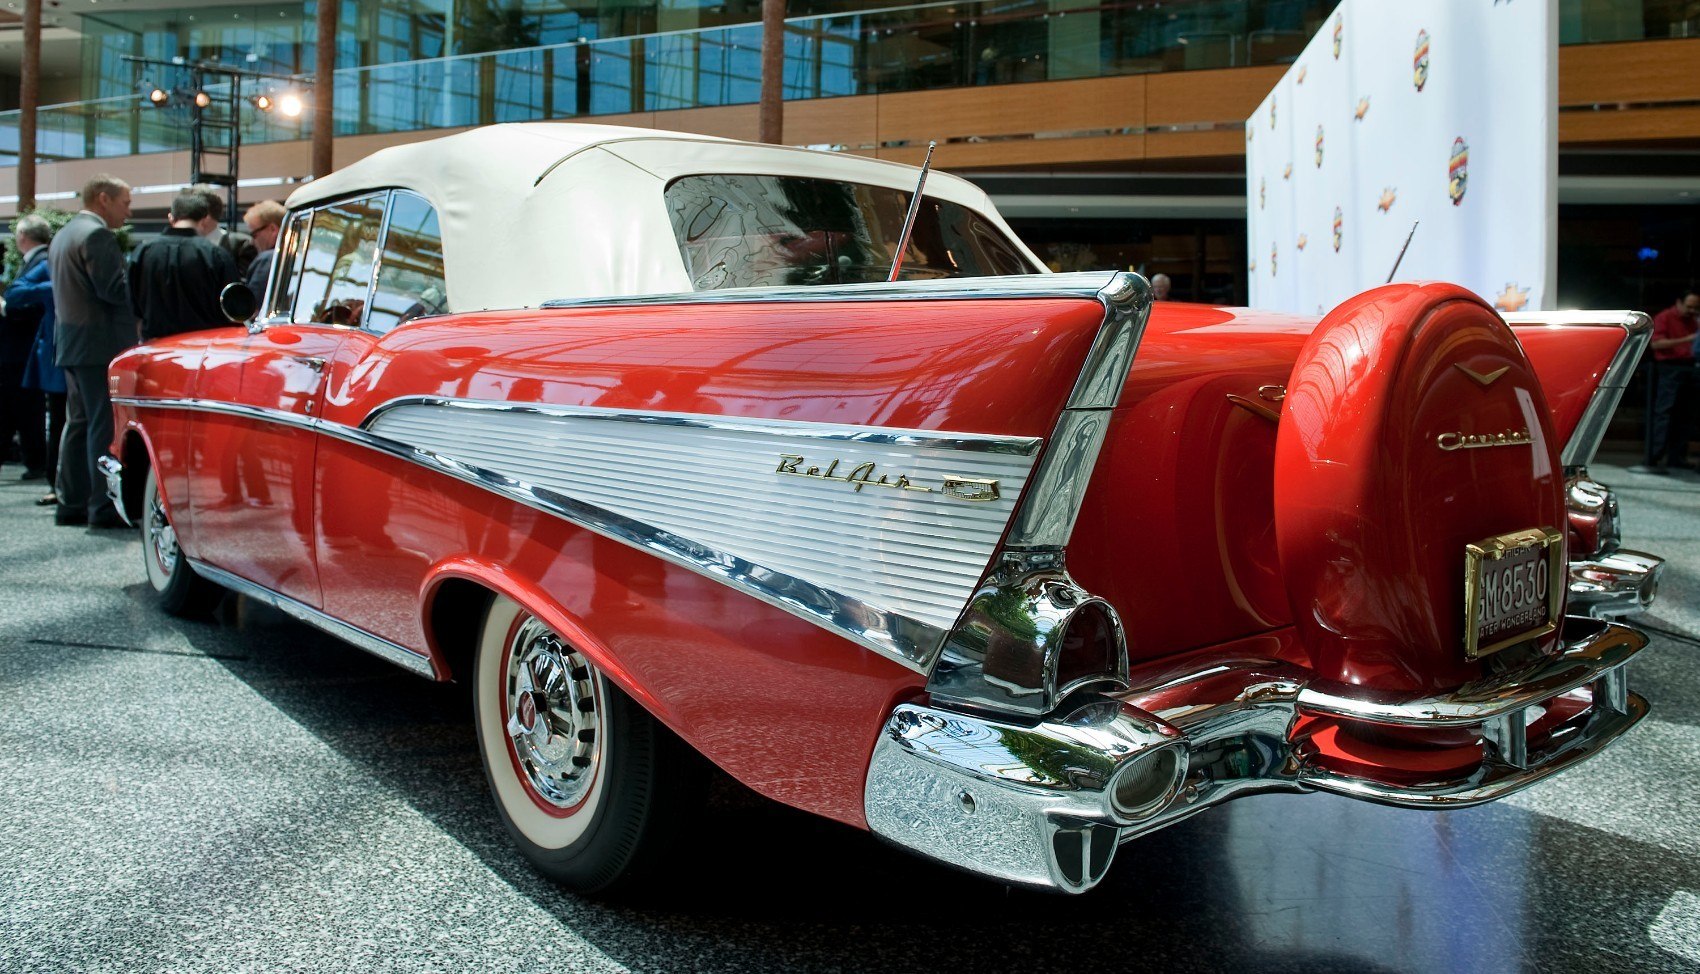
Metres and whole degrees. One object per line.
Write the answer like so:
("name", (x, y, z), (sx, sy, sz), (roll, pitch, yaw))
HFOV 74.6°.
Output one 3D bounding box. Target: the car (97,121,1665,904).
("car", (-0.748, -0.045, 4.599), (5.958, 1.664, 2.580), (10, 9, 38))
